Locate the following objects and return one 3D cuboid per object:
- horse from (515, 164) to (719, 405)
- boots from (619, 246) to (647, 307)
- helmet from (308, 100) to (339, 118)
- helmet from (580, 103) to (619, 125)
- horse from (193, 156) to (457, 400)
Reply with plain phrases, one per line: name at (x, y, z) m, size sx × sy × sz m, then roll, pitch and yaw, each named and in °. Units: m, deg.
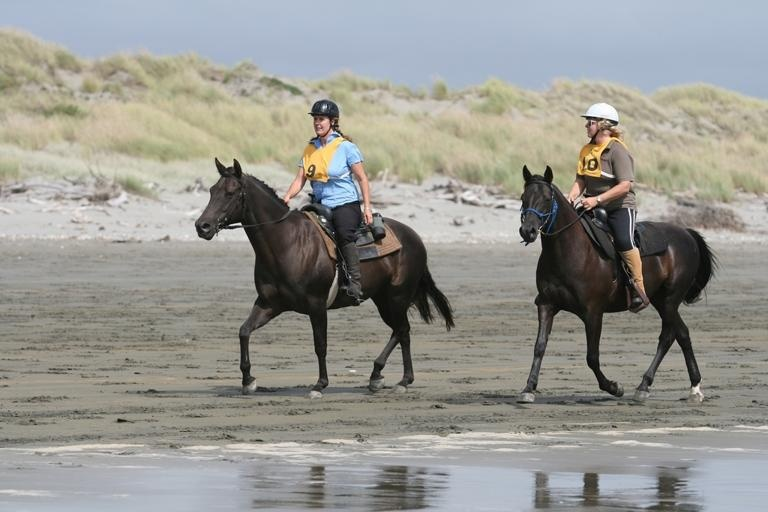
horse at (3.362, 0.622, 20.522) m, size 1.275 × 3.283 × 5.190 m, roll -7°, pitch -9°, yaw 43°
boots at (3.579, 0.310, 20.050) m, size 0.385 × 0.803 × 0.389 m, roll -2°, pitch -8°, yaw -9°
helmet at (-0.858, -2.121, 20.257) m, size 0.397 × 0.165 × 0.265 m, roll 3°, pitch 0°, yaw -28°
helmet at (3.208, -2.059, 20.048) m, size 0.628 × 0.277 × 0.430 m, roll 11°, pitch 2°, yaw -1°
horse at (-0.841, 0.258, 20.429) m, size 3.937 × 3.269 × 1.137 m, roll -2°, pitch 4°, yaw -36°
